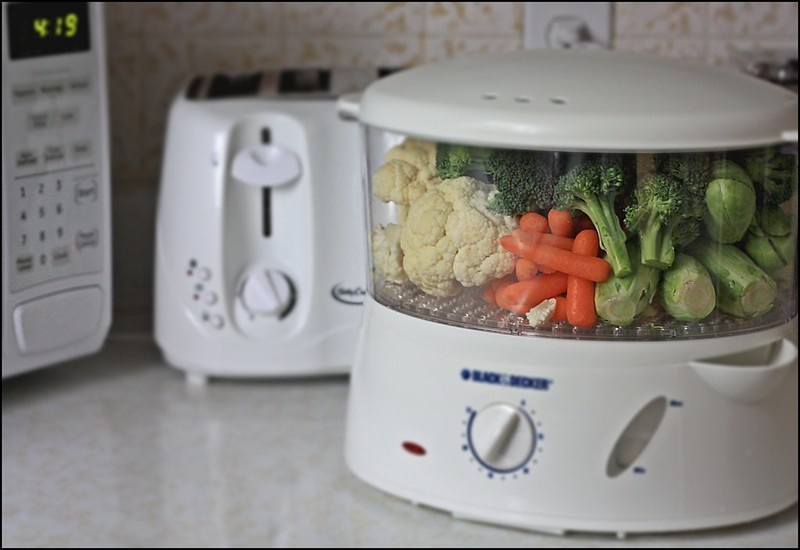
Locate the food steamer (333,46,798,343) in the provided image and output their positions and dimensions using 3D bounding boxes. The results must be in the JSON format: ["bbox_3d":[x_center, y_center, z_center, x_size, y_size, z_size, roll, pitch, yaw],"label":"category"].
[{"bbox_3d":[0.199,-0.095,0.839,0.562,0.327,0.223,1,18,6],"label":"food steamer"}]

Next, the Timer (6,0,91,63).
[{"bbox_3d":[-0.478,-0.334,0.966,0.020,0.073,0.132,8,21,27],"label":"Timer"}]

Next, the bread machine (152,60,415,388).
[{"bbox_3d":[-0.189,-0.107,1.248,0.391,0.424,0.481,2,23,0],"label":"bread machine"}]

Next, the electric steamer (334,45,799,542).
[{"bbox_3d":[0.191,-0.002,1.038,0.585,0.524,0.539,2,12,7],"label":"electric steamer"}]
